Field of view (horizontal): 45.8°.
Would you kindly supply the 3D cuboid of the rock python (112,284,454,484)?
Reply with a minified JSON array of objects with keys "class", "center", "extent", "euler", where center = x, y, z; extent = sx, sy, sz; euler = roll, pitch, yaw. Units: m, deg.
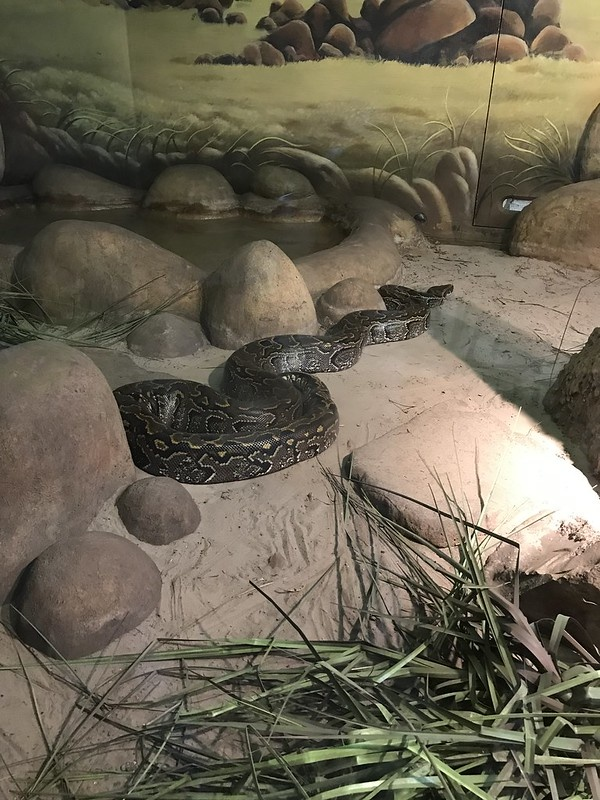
[{"class":"rock python","center":[-0.092,-0.298,4.946],"extent":[0.997,0.253,2.419],"euler":[25,36,36]}]
